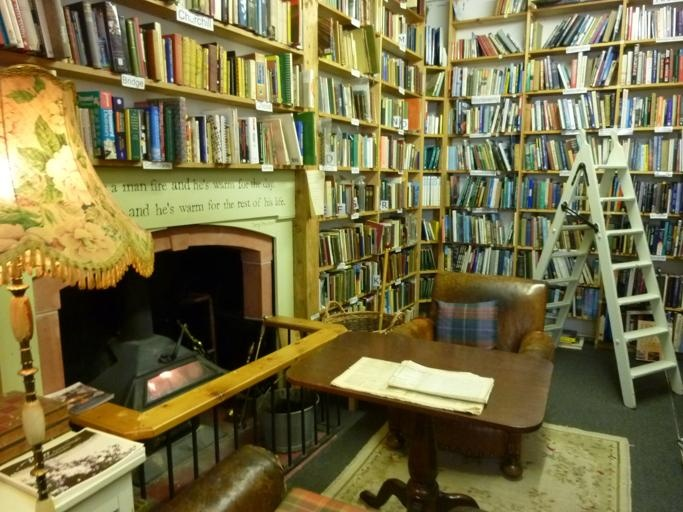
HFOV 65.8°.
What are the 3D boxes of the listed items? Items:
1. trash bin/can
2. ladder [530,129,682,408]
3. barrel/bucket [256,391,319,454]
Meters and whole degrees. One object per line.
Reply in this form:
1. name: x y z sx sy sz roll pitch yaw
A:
1. trash bin/can: -0.319 0.974 3.175 0.348 0.272 0.395 0 5 5
2. ladder: 2.115 -0.017 4.134 1.099 1.900 1.589 5 14 17
3. barrel/bucket: -0.318 0.963 3.239 0.361 0.274 0.393 0 6 0
